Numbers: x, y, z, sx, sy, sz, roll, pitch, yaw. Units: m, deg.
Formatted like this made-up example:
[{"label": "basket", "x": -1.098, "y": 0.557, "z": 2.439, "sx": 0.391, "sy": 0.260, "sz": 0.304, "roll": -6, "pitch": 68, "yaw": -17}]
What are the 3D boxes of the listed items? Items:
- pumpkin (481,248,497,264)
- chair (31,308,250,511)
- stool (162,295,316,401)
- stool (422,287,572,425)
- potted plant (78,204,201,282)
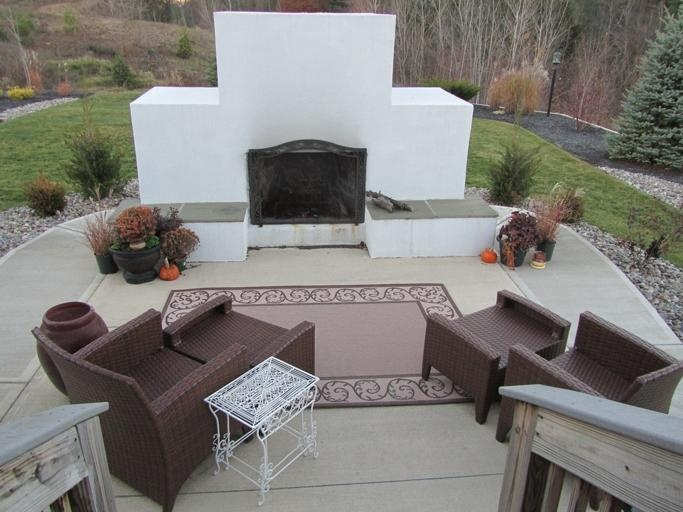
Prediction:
[{"label": "pumpkin", "x": 2.309, "y": -0.015, "z": 7.099, "sx": 0.209, "sy": 0.219, "sz": 0.202, "roll": -11, "pitch": 18, "yaw": -40}, {"label": "chair", "x": -1.535, "y": 1.109, "z": 3.601, "sx": 1.129, "sy": 1.189, "sz": 1.017, "roll": 19, "pitch": 30, "yaw": 32}, {"label": "stool", "x": -0.754, "y": 0.935, "z": 4.546, "sx": 1.287, "sy": 0.613, "sz": 0.929, "roll": 21, "pitch": 2, "yaw": -20}, {"label": "stool", "x": 1.429, "y": 1.314, "z": 4.761, "sx": 1.522, "sy": 1.025, "sz": 1.082, "roll": -18, "pitch": 36, "yaw": -28}, {"label": "potted plant", "x": -2.894, "y": -0.257, "z": 6.424, "sx": 1.286, "sy": 0.965, "sz": 1.112, "roll": -7, "pitch": 31, "yaw": -24}]
